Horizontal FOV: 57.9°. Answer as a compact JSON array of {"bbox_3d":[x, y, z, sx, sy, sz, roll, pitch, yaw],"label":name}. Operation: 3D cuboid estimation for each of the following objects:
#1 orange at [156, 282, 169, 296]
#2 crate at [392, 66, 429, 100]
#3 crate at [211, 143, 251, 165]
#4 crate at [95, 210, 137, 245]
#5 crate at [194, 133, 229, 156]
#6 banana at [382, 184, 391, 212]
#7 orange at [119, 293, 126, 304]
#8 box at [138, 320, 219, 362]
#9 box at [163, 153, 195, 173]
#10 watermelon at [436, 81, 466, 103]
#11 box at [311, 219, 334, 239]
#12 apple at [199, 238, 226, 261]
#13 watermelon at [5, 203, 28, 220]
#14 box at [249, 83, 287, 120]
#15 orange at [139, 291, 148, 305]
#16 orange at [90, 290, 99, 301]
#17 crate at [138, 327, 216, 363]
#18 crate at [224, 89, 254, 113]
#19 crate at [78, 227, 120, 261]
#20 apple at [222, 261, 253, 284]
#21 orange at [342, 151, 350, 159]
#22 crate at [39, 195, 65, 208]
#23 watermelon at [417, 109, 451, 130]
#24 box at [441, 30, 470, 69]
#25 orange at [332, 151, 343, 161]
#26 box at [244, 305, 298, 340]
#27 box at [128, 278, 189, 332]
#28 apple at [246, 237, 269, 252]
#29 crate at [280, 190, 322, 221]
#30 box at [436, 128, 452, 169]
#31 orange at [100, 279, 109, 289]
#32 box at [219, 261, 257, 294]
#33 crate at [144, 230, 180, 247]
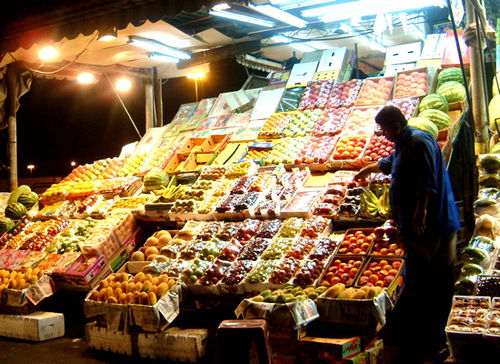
[{"bbox_3d":[-1.041,1.259,5.354,0.101,0.141,0.078,3,-33,34],"label":"orange"},{"bbox_3d":[2.846,-1.711,7.903,0.613,0.699,0.179,-14,-39,35],"label":"crate"},{"bbox_3d":[-0.338,-0.521,8.326,0.485,0.475,0.122,-10,-52,37],"label":"crate"},{"bbox_3d":[-2.027,0.707,6.938,0.248,0.307,0.445,46,-14,-28],"label":"crate"},{"bbox_3d":[-0.673,-0.743,8.749,0.450,0.493,0.146,2,-43,49],"label":"crate"},{"bbox_3d":[1.667,0.192,5.494,0.064,0.330,0.190,1,-3,1],"label":"banana"},{"bbox_3d":[-1.560,1.413,5.510,0.095,0.115,0.092,18,-31,-37],"label":"orange"},{"bbox_3d":[-0.832,1.856,5.325,0.646,0.254,0.686,-2,0,19],"label":"box"},{"bbox_3d":[-1.369,-0.360,8.644,0.414,0.413,0.145,-9,-46,46],"label":"box"},{"bbox_3d":[3.193,-1.390,7.198,0.385,0.315,0.235,-13,-17,15],"label":"watermelon"},{"bbox_3d":[0.936,0.590,5.785,0.183,0.360,0.084,4,-39,33],"label":"box"},{"bbox_3d":[-0.490,0.875,5.878,0.195,0.108,0.358,18,38,13],"label":"apple"},{"bbox_3d":[-4.475,0.556,8.605,0.330,0.291,0.271,8,-4,0],"label":"watermelon"},{"bbox_3d":[0.358,-1.602,9.008,0.651,0.987,0.221,0,-32,38],"label":"box"},{"bbox_3d":[-1.261,1.368,5.344,0.098,0.128,0.092,-21,4,-30],"label":"orange"},{"bbox_3d":[-1.978,1.436,5.743,0.080,0.108,0.082,22,-27,7],"label":"orange"},{"bbox_3d":[-0.865,1.908,5.377,0.883,0.356,0.366,-1,-4,23],"label":"crate"},{"bbox_3d":[-0.245,-1.726,9.646,0.504,0.638,0.721,2,-4,-16],"label":"crate"},{"bbox_3d":[-2.249,0.960,6.777,0.449,0.472,0.349,8,-46,30],"label":"crate"},{"bbox_3d":[-0.138,1.083,5.446,0.217,0.232,0.315,-2,-5,41],"label":"apple"},{"bbox_3d":[1.419,-0.395,6.659,0.106,0.116,0.076,0,-4,10],"label":"orange"},{"bbox_3d":[-3.864,0.380,8.809,0.721,0.241,0.154,-2,-4,37],"label":"crate"},{"bbox_3d":[2.636,-0.934,6.492,0.417,0.264,0.281,12,32,37],"label":"watermelon"},{"bbox_3d":[3.658,-2.365,8.053,0.439,0.983,0.963,-1,-4,24],"label":"box"},{"bbox_3d":[1.302,-0.385,6.713,0.101,0.102,0.103,8,-14,0],"label":"orange"},{"bbox_3d":[0.221,1.448,4.721,0.552,0.206,0.563,3,-33,10],"label":"box"},{"bbox_3d":[-1.178,1.581,5.556,0.731,0.257,0.740,-9,-1,-14],"label":"box"},{"bbox_3d":[0.101,0.786,5.717,0.234,0.161,0.213,-2,-4,40],"label":"apple"},{"bbox_3d":[0.782,0.271,6.534,0.675,0.234,1.020,-3,6,9],"label":"crate"},{"bbox_3d":[2.664,-0.483,6.190,0.185,0.578,0.407,-1,-4,25],"label":"box"},{"bbox_3d":[-1.884,1.309,5.826,0.083,0.113,0.085,-11,7,6],"label":"orange"},{"bbox_3d":[-0.144,1.187,5.394,0.246,0.386,0.137,14,-27,39],"label":"box"},{"bbox_3d":[-1.314,0.836,6.691,0.503,0.239,0.709,2,-3,-11],"label":"crate"}]
